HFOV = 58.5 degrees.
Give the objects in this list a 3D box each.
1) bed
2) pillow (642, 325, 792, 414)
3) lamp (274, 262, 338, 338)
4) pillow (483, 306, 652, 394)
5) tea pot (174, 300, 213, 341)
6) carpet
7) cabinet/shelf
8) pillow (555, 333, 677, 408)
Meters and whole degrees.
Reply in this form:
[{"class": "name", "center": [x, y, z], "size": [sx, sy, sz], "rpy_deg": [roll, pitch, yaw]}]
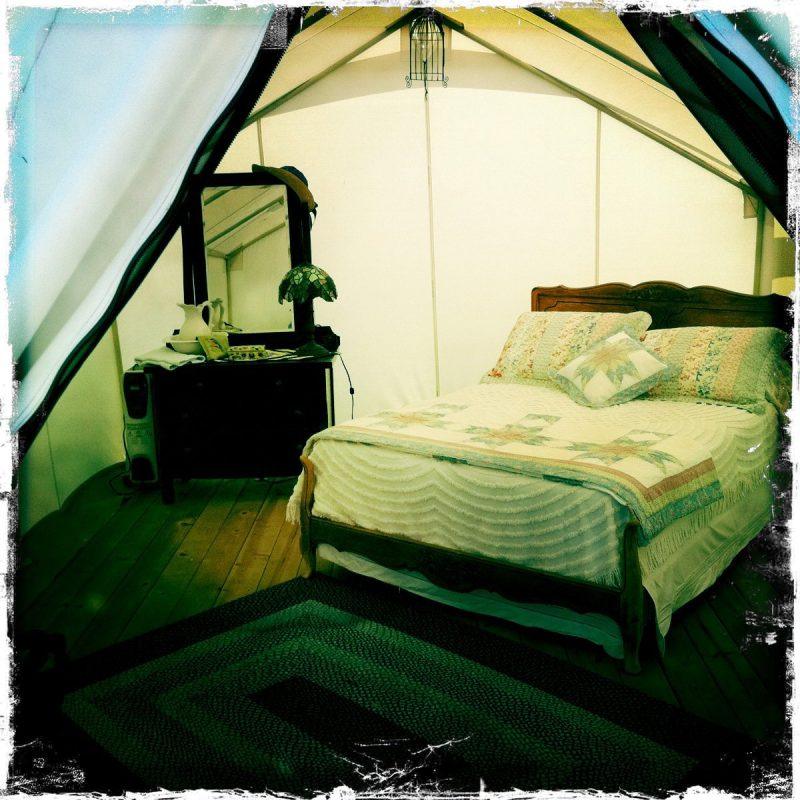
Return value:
[{"class": "bed", "center": [0.874, 0.210, 3.185], "size": [1.541, 1.106, 1.823], "rpy_deg": [6, 13, 36]}, {"class": "pillow", "center": [1.521, -0.162, 3.418], "size": [0.487, 0.490, 0.130], "rpy_deg": [0, -26, 32]}, {"class": "lamp", "center": [-0.549, -0.577, 4.149], "size": [0.373, 0.407, 0.379], "rpy_deg": [1, 3, 26]}, {"class": "pillow", "center": [1.019, -0.141, 3.985], "size": [0.521, 0.567, 0.125], "rpy_deg": [-39, 12, 40]}, {"class": "tea pot", "center": [-1.207, -0.466, 4.183], "size": [0.174, 0.266, 0.268], "rpy_deg": [6, 7, 41]}, {"class": "carpet", "center": [0.034, 0.840, 2.263], "size": [2.370, 0.111, 1.075], "rpy_deg": [0, 12, 6]}, {"class": "cabinet/shelf", "center": [-0.935, 0.158, 4.239], "size": [0.925, 0.771, 0.350], "rpy_deg": [-1, 3, -10]}, {"class": "pillow", "center": [1.035, -0.144, 3.475], "size": [0.402, 0.119, 0.398], "rpy_deg": [-33, 35, -2]}]
